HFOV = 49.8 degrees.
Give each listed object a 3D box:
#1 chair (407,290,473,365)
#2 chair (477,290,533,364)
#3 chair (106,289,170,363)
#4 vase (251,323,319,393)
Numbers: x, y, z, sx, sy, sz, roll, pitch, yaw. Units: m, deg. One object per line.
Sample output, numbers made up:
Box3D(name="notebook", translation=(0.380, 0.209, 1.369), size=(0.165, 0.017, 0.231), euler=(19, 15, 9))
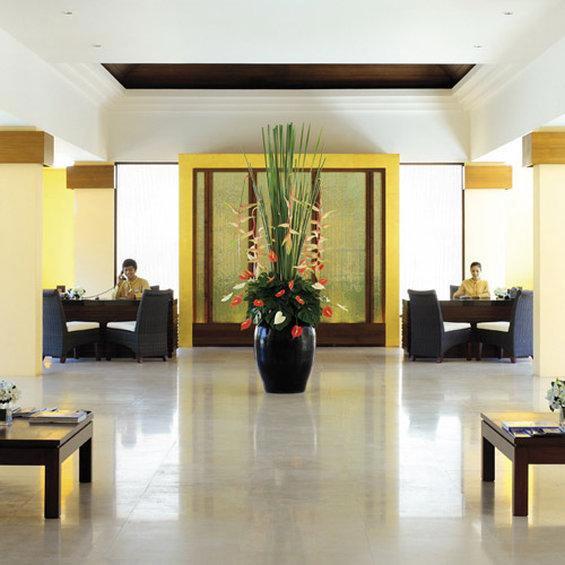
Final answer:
Box3D(name="chair", translation=(2.078, 0.581, 8.199), size=(0.738, 0.959, 0.415), euler=(-1, 2, 8))
Box3D(name="chair", translation=(2.967, 0.546, 8.084), size=(0.668, 0.880, 0.398), euler=(0, 2, 27))
Box3D(name="chair", translation=(-2.084, 0.552, 8.264), size=(0.884, 1.309, 0.763), euler=(5, 4, 41))
Box3D(name="vase", translation=(0.126, 0.678, 6.088), size=(0.507, 0.709, 0.592), euler=(6, 13, 17))
